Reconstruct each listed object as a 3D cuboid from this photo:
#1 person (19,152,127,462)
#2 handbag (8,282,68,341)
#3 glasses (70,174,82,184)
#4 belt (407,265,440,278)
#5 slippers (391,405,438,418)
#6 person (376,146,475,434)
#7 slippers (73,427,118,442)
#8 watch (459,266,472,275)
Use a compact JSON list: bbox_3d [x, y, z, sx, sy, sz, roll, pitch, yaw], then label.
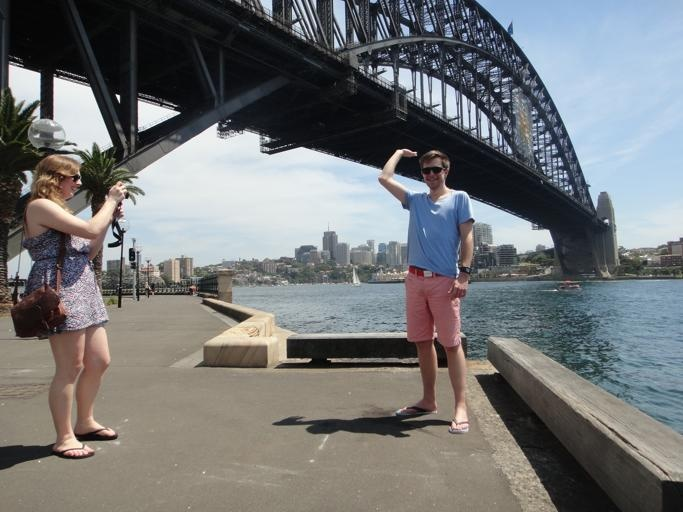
[{"bbox_3d":[-1.878,0.320,3.518,0.647,2.127,0.510,-1,-2,-34],"label":"person"},{"bbox_3d":[-2.002,0.353,3.274,0.289,0.326,0.116,-2,-1,-3],"label":"handbag"},{"bbox_3d":[-1.955,-0.577,3.639,0.055,0.043,0.058,0,12,41],"label":"glasses"},{"bbox_3d":[0.671,0.118,4.102,0.100,0.104,0.285,-1,-2,-41],"label":"belt"},{"bbox_3d":[0.623,1.290,4.191,0.316,0.083,0.125,2,-8,-9],"label":"slippers"},{"bbox_3d":[0.736,0.180,4.150,0.726,2.357,0.542,-2,-2,27],"label":"person"},{"bbox_3d":[-1.845,1.304,3.706,0.285,0.091,0.118,1,-5,-8],"label":"slippers"},{"bbox_3d":[0.994,0.101,3.944,0.077,0.050,0.079,19,12,3],"label":"watch"}]
